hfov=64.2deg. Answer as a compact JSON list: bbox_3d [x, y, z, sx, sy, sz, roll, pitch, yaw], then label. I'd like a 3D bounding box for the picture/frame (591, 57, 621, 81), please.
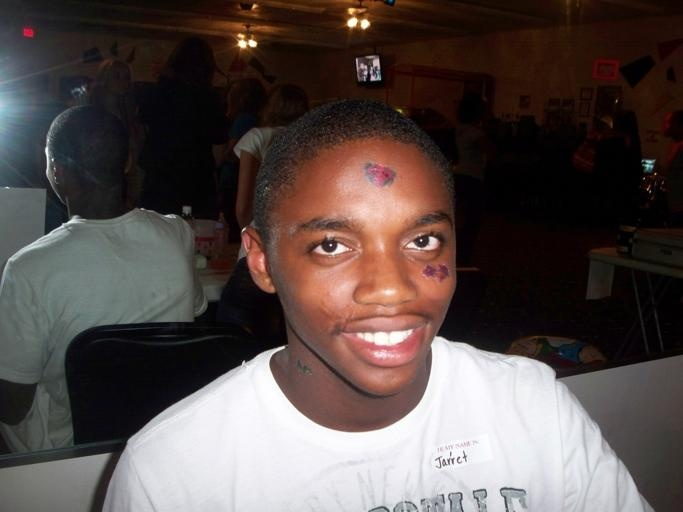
[{"bbox_3d":[4.271,-3.004,8.803,0.042,0.362,0.450,-10,15,-33],"label":"picture/frame"}]

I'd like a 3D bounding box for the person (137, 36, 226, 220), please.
[{"bbox_3d":[-1.115,-0.973,3.901,0.474,1.485,0.457,2,-12,-14],"label":"person"}]
